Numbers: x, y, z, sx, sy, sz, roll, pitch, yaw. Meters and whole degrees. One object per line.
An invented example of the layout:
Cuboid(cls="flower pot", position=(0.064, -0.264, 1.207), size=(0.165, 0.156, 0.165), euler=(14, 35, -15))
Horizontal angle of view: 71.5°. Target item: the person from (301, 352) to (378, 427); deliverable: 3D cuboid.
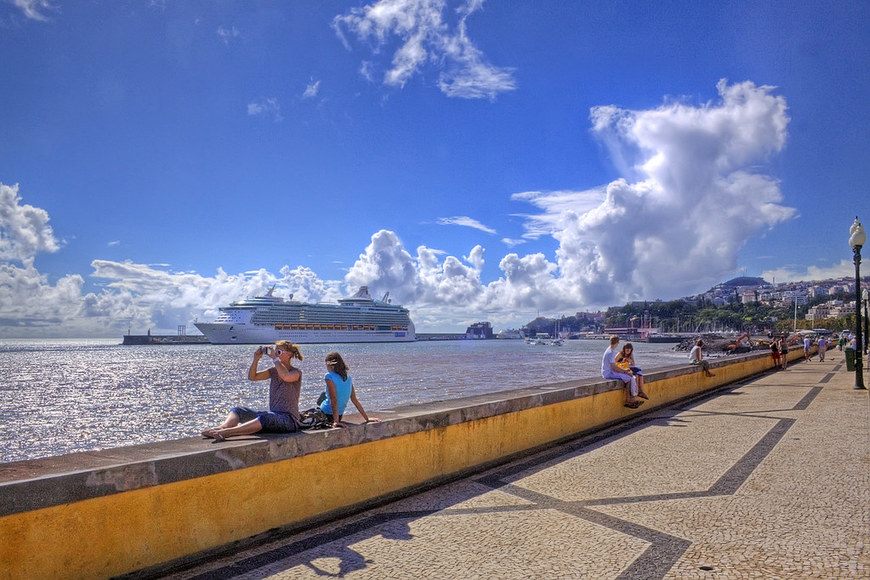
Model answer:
Cuboid(cls="person", position=(-1.643, 1.480, 8.972), size=(1.378, 1.000, 0.790), euler=(-8, -10, 32))

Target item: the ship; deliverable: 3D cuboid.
Cuboid(cls="ship", position=(-25.305, 6.215, 118.688), size=(46.849, 12.247, 9.020), euler=(5, -10, -42))

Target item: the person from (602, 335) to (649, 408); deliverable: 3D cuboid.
Cuboid(cls="person", position=(4.285, 1.875, 13.887), size=(0.707, 1.708, 1.470), euler=(-7, -5, 33))

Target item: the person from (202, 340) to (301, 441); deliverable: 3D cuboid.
Cuboid(cls="person", position=(-2.392, 1.303, 7.931), size=(0.907, 1.200, 1.405), euler=(-3, -5, 31))
